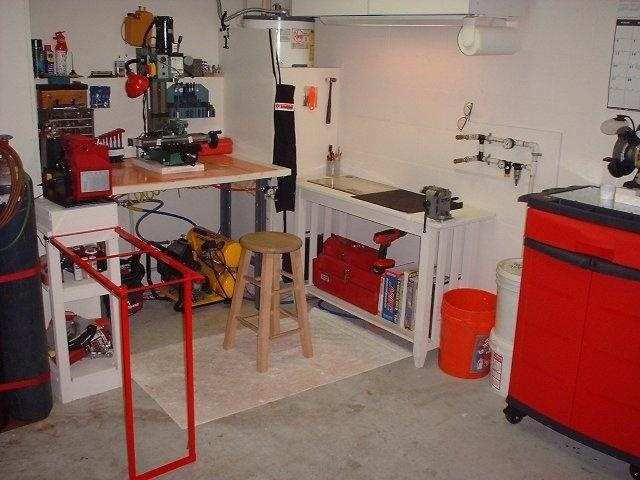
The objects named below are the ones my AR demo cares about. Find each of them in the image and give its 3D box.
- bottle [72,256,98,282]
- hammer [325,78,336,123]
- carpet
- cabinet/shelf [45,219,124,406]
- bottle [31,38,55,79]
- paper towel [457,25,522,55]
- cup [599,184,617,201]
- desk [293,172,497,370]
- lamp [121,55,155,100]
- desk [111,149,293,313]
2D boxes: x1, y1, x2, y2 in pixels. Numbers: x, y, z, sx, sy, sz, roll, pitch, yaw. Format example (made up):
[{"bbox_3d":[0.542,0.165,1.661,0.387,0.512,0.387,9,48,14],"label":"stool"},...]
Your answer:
[{"bbox_3d":[-1.288,0.161,2.781,0.054,0.133,0.141,-5,15,-31],"label":"bottle"},{"bbox_3d":[0.091,-1.189,4.326,0.065,0.384,0.178,5,19,16],"label":"hammer"},{"bbox_3d":[-0.376,0.812,3.538,1.715,0.103,0.942,-11,22,-28],"label":"carpet"},{"bbox_3d":[-1.412,0.436,3.067,0.483,0.993,0.442,-9,20,-22],"label":"cabinet/shelf"},{"bbox_3d":[-1.977,-1.312,3.657,0.108,0.260,0.189,0,19,2],"label":"bottle"},{"bbox_3d":[1.080,-1.268,3.215,0.455,0.165,0.149,-13,22,-31],"label":"paper towel"},{"bbox_3d":[1.530,-0.259,2.707,0.082,0.091,0.080,0,12,0],"label":"cup"},{"bbox_3d":[0.569,0.243,3.670,0.454,0.875,1.169,-11,24,-34],"label":"desk"},{"bbox_3d":[-1.314,-1.170,3.669,0.196,0.299,0.638,-8,20,-21],"label":"lamp"},{"bbox_3d":[-0.973,-0.078,4.018,1.032,0.808,1.070,-16,24,-40],"label":"desk"}]
